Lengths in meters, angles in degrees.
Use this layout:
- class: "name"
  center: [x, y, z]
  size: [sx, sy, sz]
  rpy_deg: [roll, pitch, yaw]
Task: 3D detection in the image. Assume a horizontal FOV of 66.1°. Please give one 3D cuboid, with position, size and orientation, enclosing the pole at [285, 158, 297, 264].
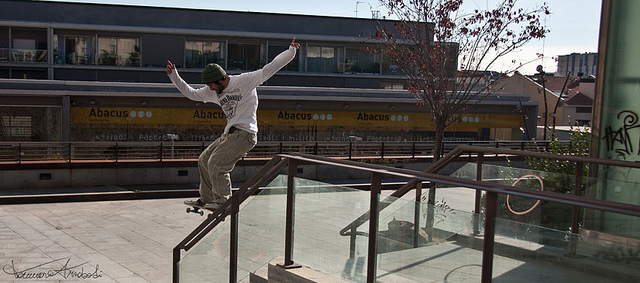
- class: "pole"
  center: [-1.007, 2.444, 16.976]
  size: [0.543, 3.008, 0.567]
  rpy_deg: [0, 0, -4]

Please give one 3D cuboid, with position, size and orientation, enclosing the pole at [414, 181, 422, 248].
- class: "pole"
  center: [3.174, 2.432, 15.931]
  size: [0.279, 2.358, 0.260]
  rpy_deg: [3, 13, 13]

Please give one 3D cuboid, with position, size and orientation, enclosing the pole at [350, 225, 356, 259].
- class: "pole"
  center: [1.094, 3.317, 16.244]
  size: [0.204, 1.039, 0.207]
  rpy_deg: [-1, 15, 9]

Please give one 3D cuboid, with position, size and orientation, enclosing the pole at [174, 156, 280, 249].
- class: "pole"
  center: [-3.943, 2.534, 19.712]
  size: [0.336, 7.020, 0.654]
  rpy_deg: [31, 26, -56]

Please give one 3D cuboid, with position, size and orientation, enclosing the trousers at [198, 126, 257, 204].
- class: "trousers"
  center: [-3.530, 0.774, 18.034]
  size: [1.530, 3.246, 2.265]
  rpy_deg: [2, 1, -25]
